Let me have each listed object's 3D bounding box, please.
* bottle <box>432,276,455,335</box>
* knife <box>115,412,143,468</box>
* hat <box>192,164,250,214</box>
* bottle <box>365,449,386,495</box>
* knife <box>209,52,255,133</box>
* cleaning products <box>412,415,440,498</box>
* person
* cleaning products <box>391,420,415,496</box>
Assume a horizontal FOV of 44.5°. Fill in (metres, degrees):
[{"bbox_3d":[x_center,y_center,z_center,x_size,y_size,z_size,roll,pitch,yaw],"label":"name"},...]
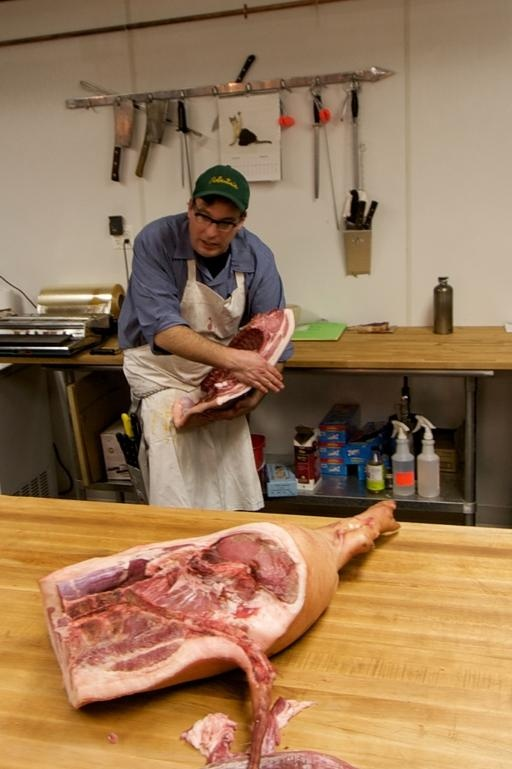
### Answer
[{"bbox_3d":[0.885,-0.373,2.971,0.086,0.271,0.100,-3,5,12],"label":"bottle"},{"bbox_3d":[-0.539,0.242,2.641,0.114,0.362,0.084,0,50,-2],"label":"knife"},{"bbox_3d":[-0.115,-0.620,1.968,0.199,0.138,0.259,8,8,-12],"label":"hat"},{"bbox_3d":[0.562,0.403,2.940,0.097,0.196,0.102,-4,5,0],"label":"bottle"},{"bbox_3d":[-0.115,-1.470,3.110,0.072,0.444,0.068,38,26,16],"label":"knife"},{"bbox_3d":[0.788,0.317,2.881,0.105,0.377,0.232,-3,5,16],"label":"cleaning products"},{"bbox_3d":[-0.139,-0.099,2.323,0.605,1.321,0.832,-11,22,-36],"label":"person"},{"bbox_3d":[0.670,0.335,2.859,0.105,0.352,0.149,-3,5,13],"label":"cleaning products"}]
